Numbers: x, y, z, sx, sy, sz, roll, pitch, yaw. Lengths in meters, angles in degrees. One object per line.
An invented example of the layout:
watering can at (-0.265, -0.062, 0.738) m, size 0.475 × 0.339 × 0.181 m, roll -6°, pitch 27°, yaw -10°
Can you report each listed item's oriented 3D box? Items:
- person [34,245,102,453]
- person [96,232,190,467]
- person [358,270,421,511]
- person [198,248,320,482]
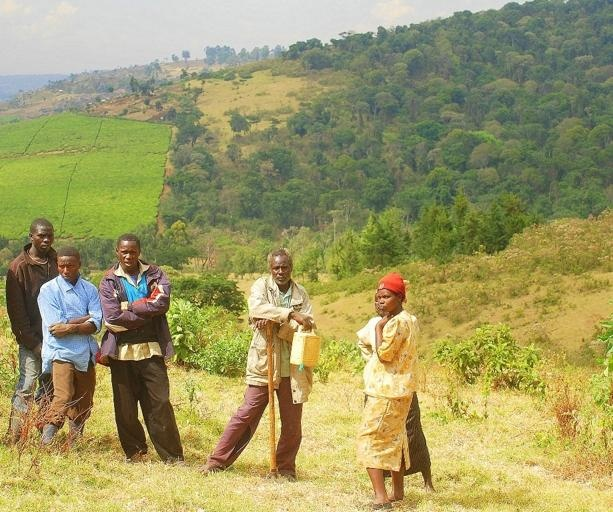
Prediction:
person at (-2.598, 0.977, 8.603) m, size 0.723 × 2.130 × 0.589 m, roll -2°, pitch 4°, yaw -27°
person at (-1.865, 1.040, 8.725) m, size 0.847 × 2.518 × 0.496 m, roll -1°, pitch 4°, yaw -14°
person at (0.837, 1.377, 8.020) m, size 0.610 × 2.359 × 0.607 m, roll 0°, pitch 4°, yaw 6°
person at (-0.461, 1.350, 8.838) m, size 1.133 × 2.373 × 0.512 m, roll -1°, pitch 4°, yaw -6°
